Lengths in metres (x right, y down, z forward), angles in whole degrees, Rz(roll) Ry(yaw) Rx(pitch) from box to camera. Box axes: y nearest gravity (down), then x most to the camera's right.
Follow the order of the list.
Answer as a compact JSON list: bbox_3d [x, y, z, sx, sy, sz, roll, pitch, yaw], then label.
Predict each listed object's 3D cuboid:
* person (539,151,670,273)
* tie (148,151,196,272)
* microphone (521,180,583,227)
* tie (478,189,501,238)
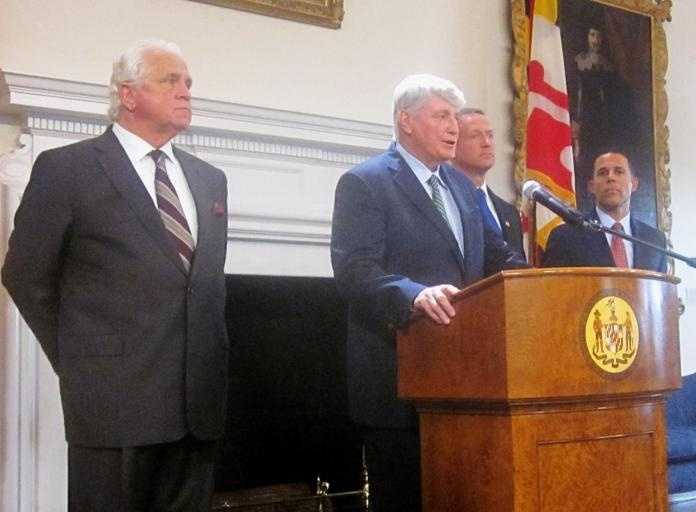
[{"bbox_3d":[1.508,-0.260,4.458,0.528,1.015,0.266,12,-37,0],"label":"person"},{"bbox_3d":[-0.669,-0.181,2.727,0.106,0.479,0.043,-18,-14,-31],"label":"tie"},{"bbox_3d":[1.061,-0.272,3.937,0.380,0.106,0.105,44,-16,5],"label":"microphone"},{"bbox_3d":[0.673,-0.196,3.536,0.052,0.246,0.179,-16,-14,10],"label":"tie"}]
